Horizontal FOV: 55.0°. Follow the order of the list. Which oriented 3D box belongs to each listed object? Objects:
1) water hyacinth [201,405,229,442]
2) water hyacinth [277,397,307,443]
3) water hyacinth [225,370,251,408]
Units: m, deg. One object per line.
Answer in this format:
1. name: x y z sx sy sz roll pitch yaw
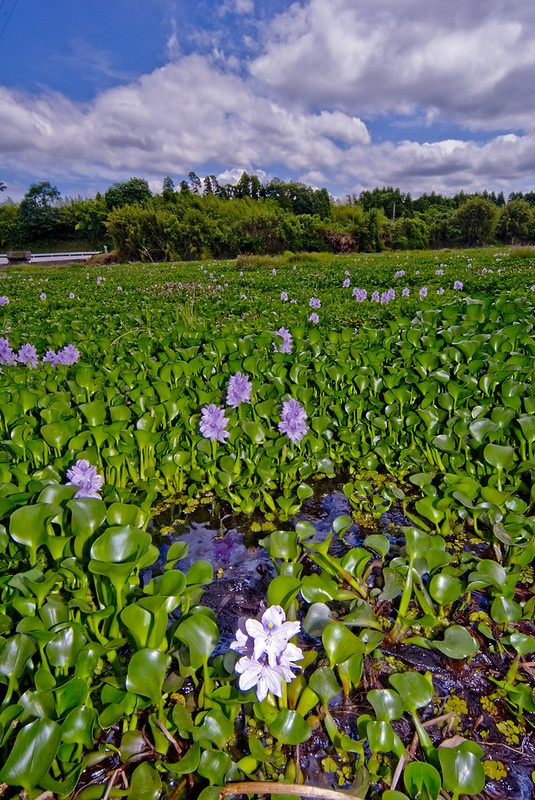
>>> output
1. water hyacinth: -0.299 0.128 2.907 0.182 0.195 0.075 27 27 18
2. water hyacinth: 0.143 0.117 2.951 0.180 0.234 0.108 -3 7 16
3. water hyacinth: -0.180 -0.060 3.142 0.181 0.195 0.096 16 22 -6
